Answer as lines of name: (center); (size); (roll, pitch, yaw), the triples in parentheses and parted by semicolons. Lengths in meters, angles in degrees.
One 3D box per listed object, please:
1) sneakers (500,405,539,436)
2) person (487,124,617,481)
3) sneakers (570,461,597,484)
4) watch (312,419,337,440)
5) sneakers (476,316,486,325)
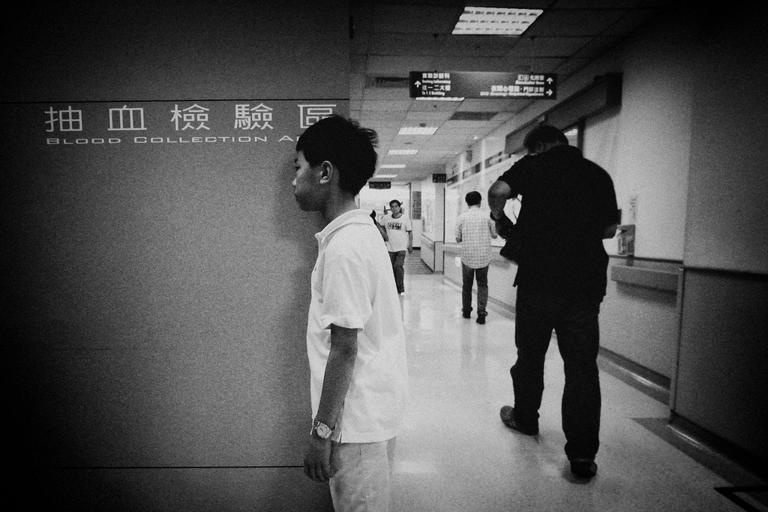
sneakers: (1.002, 1.266, 4.367); (0.134, 0.119, 0.302); (-9, 21, -26)
person: (1.253, 0.330, 4.064); (0.587, 2.153, 0.957); (-10, 18, -35)
sneakers: (1.329, 1.424, 3.881); (0.174, 0.151, 0.120); (6, 9, 24)
watch: (-0.288, 0.822, 2.752); (0.084, 0.048, 0.109); (17, -21, 19)
sneakers: (1.221, 0.810, 7.300); (0.111, 0.173, 0.113); (2, -2, -6)
